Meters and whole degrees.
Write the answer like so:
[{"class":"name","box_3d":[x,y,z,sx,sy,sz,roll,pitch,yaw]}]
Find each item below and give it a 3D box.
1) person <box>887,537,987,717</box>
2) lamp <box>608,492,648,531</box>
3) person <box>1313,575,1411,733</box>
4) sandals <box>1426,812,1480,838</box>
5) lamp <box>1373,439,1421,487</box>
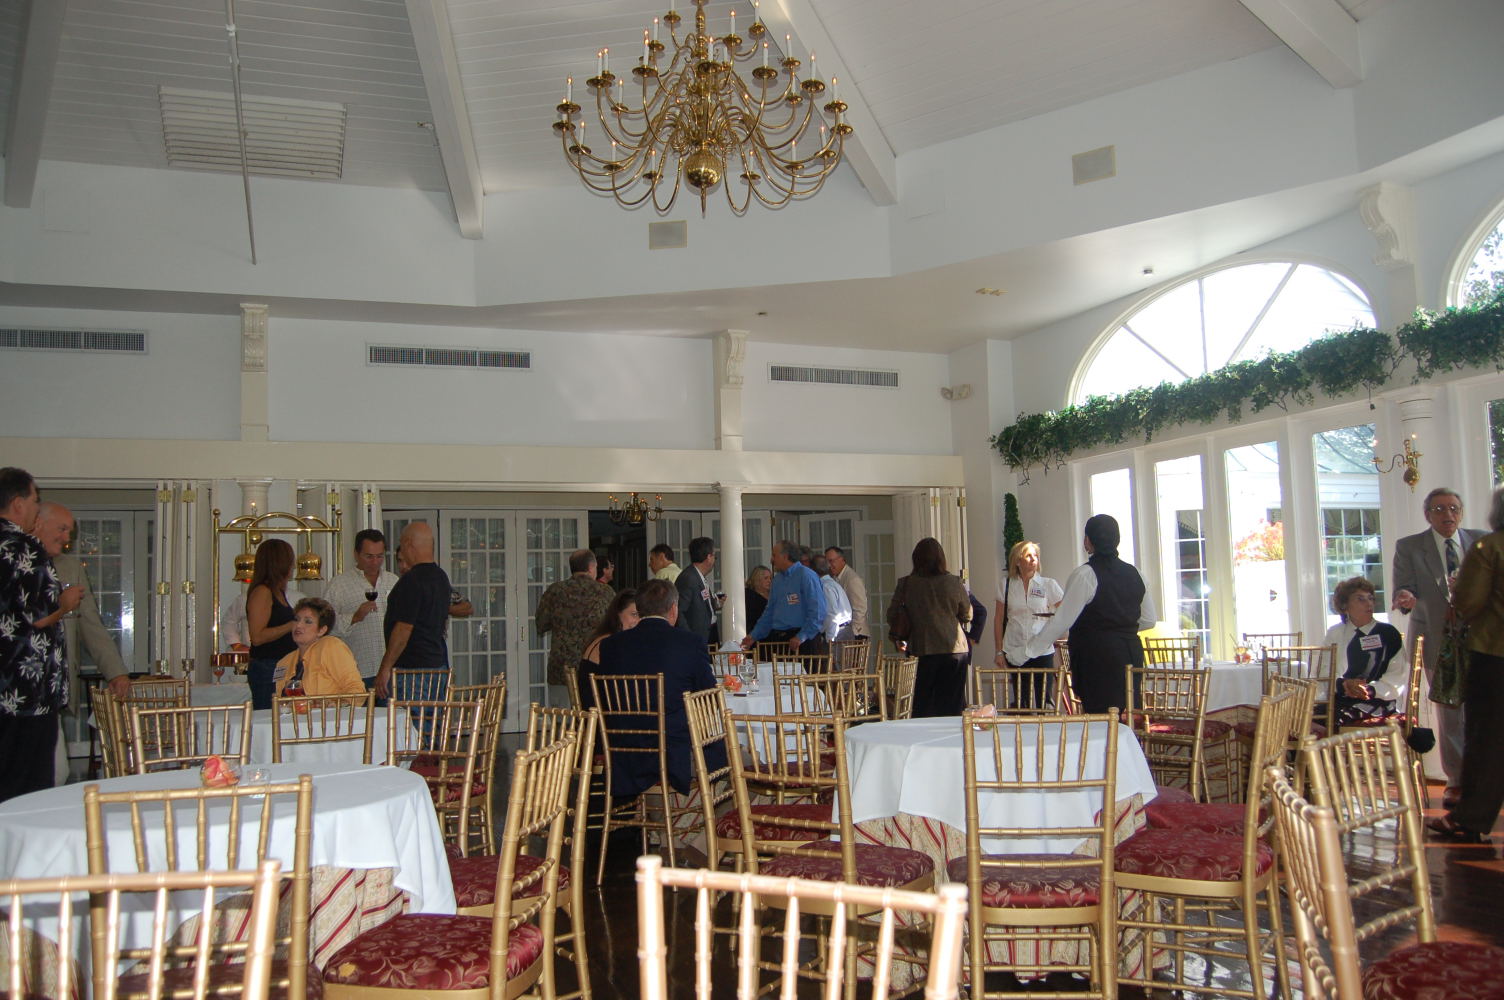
[{"class":"person","box_3d":[1.356,1.028,9.168,0.510,1.583,0.454,-4,22,-1]},{"class":"lamp","box_3d":[-1.331,0.079,14.172,0.420,0.318,0.723,-4,-6,26]},{"class":"person","box_3d":[4.410,1.199,8.963,0.679,1.244,0.575,-10,8,-19]},{"class":"sandals","box_3d":[4.468,2.082,7.786,0.121,0.156,0.377,0,-15,-20]},{"class":"lamp","box_3d":[5.098,-0.281,9.687,0.150,0.401,0.482,-1,-5,-9]}]
